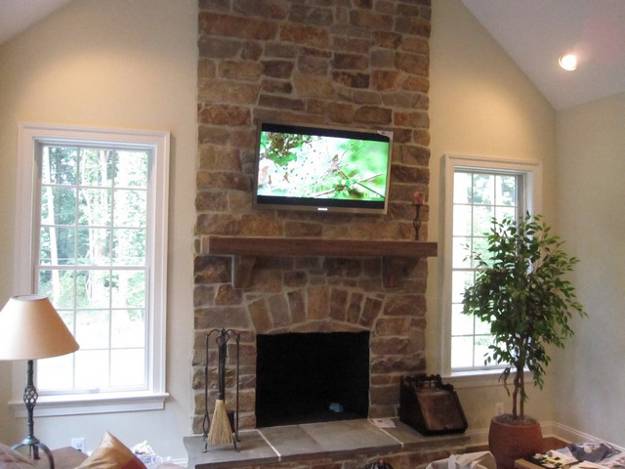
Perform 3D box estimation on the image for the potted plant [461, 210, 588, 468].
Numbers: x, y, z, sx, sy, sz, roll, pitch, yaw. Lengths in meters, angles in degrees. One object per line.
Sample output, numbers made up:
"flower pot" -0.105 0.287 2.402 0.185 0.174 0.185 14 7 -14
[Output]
"potted plant" 1.975 0.922 5.145 1.005 2.314 1.461 -1 -2 33
